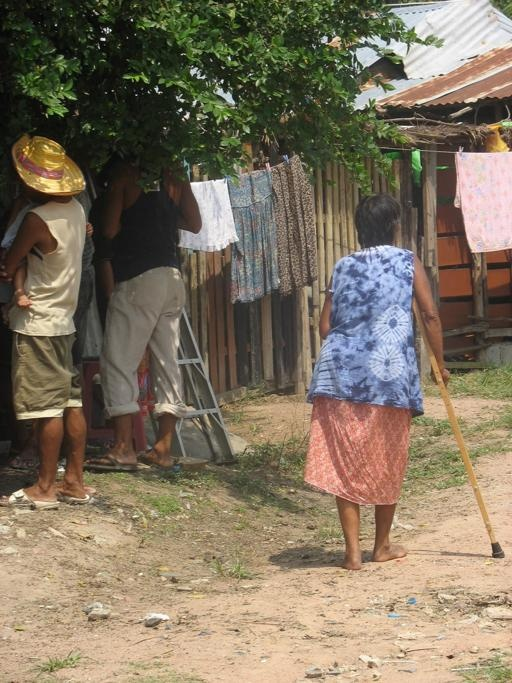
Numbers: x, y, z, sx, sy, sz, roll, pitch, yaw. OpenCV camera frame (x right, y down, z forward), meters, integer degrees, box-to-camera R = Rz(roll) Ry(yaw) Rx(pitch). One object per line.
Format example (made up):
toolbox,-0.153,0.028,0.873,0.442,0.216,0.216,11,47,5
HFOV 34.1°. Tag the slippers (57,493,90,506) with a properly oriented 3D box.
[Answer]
slippers,-0.970,0.841,4.434,0.164,0.057,0.056,1,3,17

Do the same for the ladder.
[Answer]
ladder,-0.840,-0.308,5.384,0.677,2.117,0.826,-1,0,37

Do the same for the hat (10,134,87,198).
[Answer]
hat,-1.064,-0.878,4.222,0.331,0.338,0.127,14,-52,-31
